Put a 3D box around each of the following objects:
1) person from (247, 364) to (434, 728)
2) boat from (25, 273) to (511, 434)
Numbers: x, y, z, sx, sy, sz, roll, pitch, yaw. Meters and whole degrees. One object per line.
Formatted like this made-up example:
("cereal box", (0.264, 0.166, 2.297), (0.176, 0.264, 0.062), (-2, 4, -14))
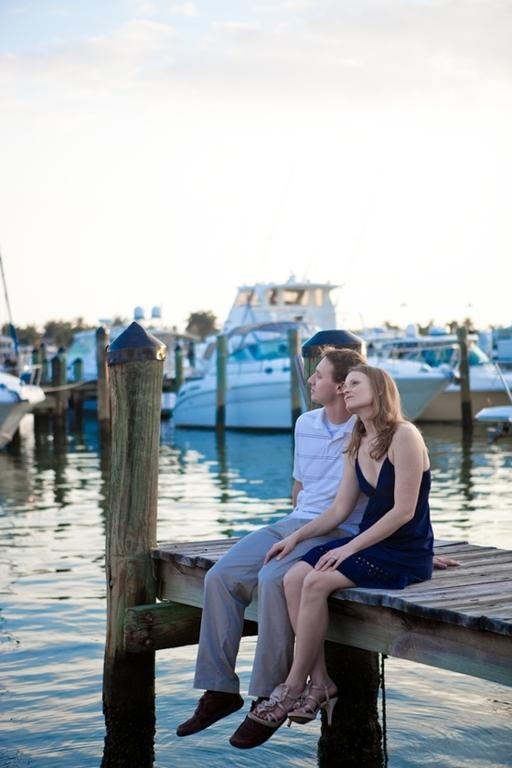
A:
("person", (0.396, 0.754, 6.887), (0.623, 1.625, 0.892), (5, 6, 36))
("boat", (0.989, -0.385, 30.561), (3.412, 3.371, 12.337), (-4, 0, -38))
